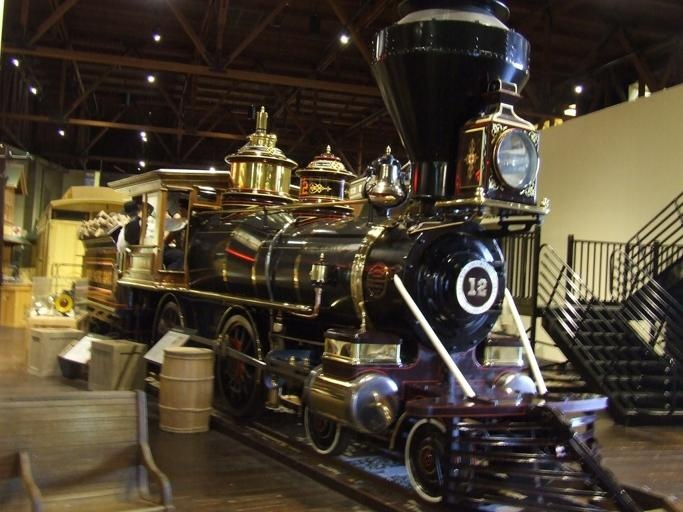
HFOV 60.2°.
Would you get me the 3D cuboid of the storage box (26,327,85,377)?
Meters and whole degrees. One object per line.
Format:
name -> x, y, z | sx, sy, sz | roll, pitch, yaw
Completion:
storage box -> -4.330, 1.460, 8.911 | 0.491, 0.639, 0.662 | 2, -2, 35
